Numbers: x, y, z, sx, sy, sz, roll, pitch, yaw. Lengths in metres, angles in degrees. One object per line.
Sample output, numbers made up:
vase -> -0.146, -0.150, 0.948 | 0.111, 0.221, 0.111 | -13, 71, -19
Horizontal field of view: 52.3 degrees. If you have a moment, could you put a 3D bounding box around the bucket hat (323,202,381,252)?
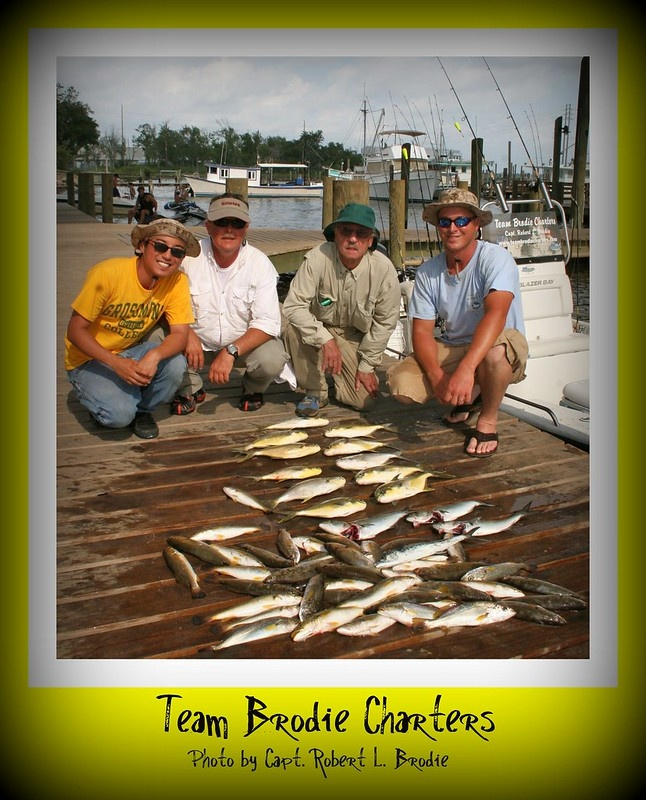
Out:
bucket hat -> 0.184, -1.036, 3.923 | 0.304, 0.168, 0.341 | 8, -20, 6

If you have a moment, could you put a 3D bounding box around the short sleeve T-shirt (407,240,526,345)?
short sleeve T-shirt -> 0.798, -0.618, 3.705 | 0.708, 0.482, 0.445 | 0, 22, 41

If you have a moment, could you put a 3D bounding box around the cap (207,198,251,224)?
cap -> -0.555, -1.129, 3.901 | 0.279, 0.155, 0.224 | -5, 11, -22

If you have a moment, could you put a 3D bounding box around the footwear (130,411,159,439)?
footwear -> -0.987, 0.149, 3.686 | 0.094, 0.083, 0.235 | -3, 10, -21

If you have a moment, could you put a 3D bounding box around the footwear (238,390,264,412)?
footwear -> -0.450, 0.008, 4.151 | 0.124, 0.095, 0.284 | 0, 8, -6

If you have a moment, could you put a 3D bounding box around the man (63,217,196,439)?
man -> -1.032, -0.396, 3.659 | 0.751, 1.174, 0.470 | -6, 12, -25

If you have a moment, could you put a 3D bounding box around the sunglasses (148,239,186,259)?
sunglasses -> -0.813, -0.789, 3.468 | 0.188, 0.090, 0.070 | -10, 14, -43

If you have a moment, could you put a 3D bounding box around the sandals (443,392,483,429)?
sandals -> 0.832, 0.077, 3.889 | 0.084, 0.106, 0.293 | 15, -34, -31

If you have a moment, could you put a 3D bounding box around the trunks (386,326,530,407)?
trunks -> 0.680, -0.252, 3.803 | 0.529, 0.171, 0.563 | 7, 20, 38

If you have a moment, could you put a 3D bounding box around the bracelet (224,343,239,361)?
bracelet -> -0.551, -0.290, 3.962 | 0.080, 0.088, 0.133 | -1, 10, -3

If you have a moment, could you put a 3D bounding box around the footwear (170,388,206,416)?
footwear -> -0.840, 0.023, 4.130 | 0.095, 0.105, 0.261 | -2, 8, 14

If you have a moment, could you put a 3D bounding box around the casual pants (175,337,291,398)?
casual pants -> -0.435, -0.165, 4.137 | 0.508, 0.215, 0.433 | 5, 43, 15
